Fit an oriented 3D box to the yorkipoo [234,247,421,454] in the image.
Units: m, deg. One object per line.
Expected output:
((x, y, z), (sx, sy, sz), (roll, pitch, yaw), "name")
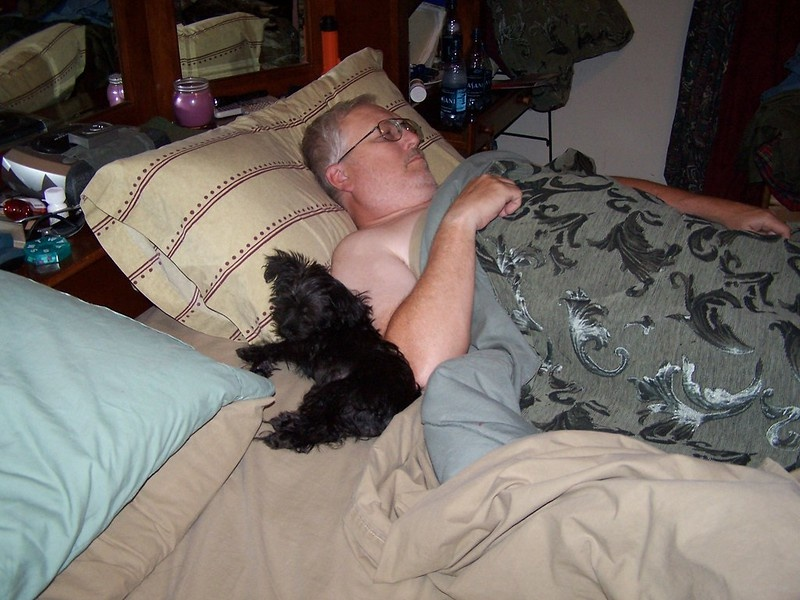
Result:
((-0.223, 0.160, 1.496), (0.422, 0.205, 0.353), (44, 56, 10), "yorkipoo")

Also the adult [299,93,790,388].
((0.081, -0.127, 1.647), (0.988, 0.296, 0.733), (24, 52, 32), "adult")

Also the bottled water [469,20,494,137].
((0.290, -0.846, 2.498), (0.091, 0.296, 0.087), (-5, 22, -1), "bottled water")

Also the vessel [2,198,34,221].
((-0.884, -0.208, 1.567), (0.053, 0.036, 0.063), (2, 8, 1), "vessel")

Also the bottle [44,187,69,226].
((-0.811, -0.220, 1.597), (0.052, 0.067, 0.078), (-15, 41, -13), "bottle")

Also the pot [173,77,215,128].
((-0.622, -0.587, 2.033), (0.131, 0.124, 0.123), (-1, 29, 0), "pot")

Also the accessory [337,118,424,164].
((-0.054, -0.468, 1.895), (0.173, 0.178, 0.048), (-3, 64, -60), "accessory")

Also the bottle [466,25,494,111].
((0.291, -0.863, 2.504), (0.087, 0.255, 0.083), (-4, 21, 2), "bottle")
